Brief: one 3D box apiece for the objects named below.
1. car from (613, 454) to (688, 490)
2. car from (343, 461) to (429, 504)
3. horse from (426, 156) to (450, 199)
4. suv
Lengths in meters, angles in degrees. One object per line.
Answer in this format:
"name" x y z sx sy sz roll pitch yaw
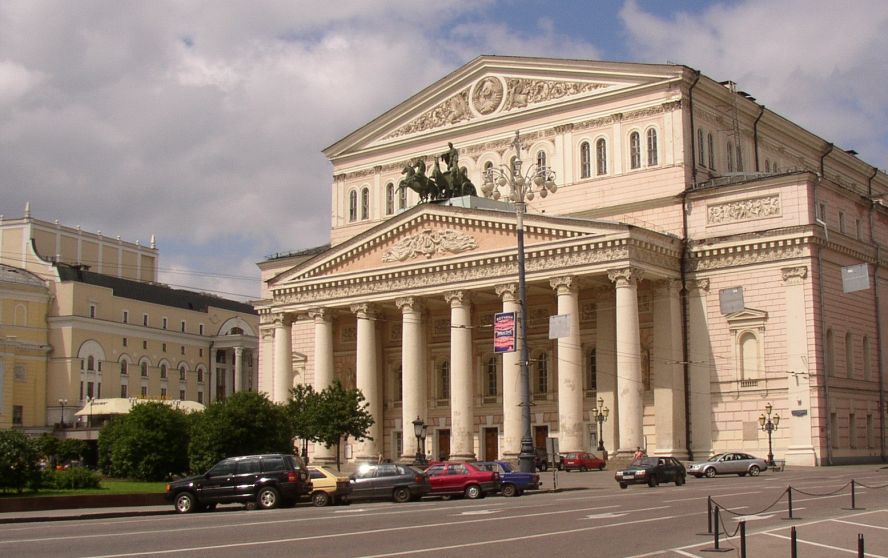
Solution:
"car" 11.646 10.826 72.828 4.111 1.869 1.573 6 -17 -24
"car" -2.831 10.682 67.660 5.299 1.819 2.197 -4 -8 27
"horse" -0.167 -6.985 92.383 0.997 2.455 3.453 3 -9 11
"suv" -9.752 10.073 63.734 7.118 2.711 2.978 -2 -7 15
